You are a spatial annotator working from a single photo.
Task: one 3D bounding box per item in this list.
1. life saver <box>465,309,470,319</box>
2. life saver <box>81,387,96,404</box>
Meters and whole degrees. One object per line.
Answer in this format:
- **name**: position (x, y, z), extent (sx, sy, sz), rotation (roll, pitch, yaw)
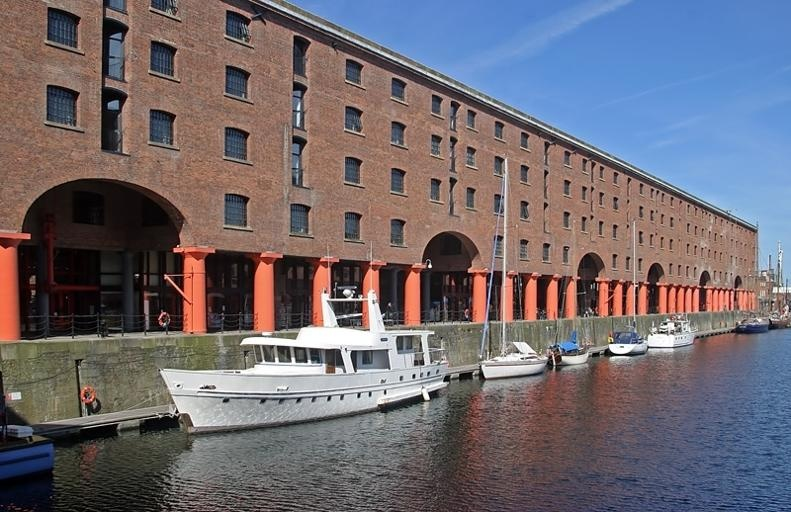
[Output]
- **life saver**: position (7.081, 5.695, 67.165), extent (0.341, 1.236, 0.488), rotation (-4, 25, 2)
- **life saver**: position (-16.051, 7.337, 35.694), extent (0.706, 0.837, 0.292), rotation (-3, 14, -24)
